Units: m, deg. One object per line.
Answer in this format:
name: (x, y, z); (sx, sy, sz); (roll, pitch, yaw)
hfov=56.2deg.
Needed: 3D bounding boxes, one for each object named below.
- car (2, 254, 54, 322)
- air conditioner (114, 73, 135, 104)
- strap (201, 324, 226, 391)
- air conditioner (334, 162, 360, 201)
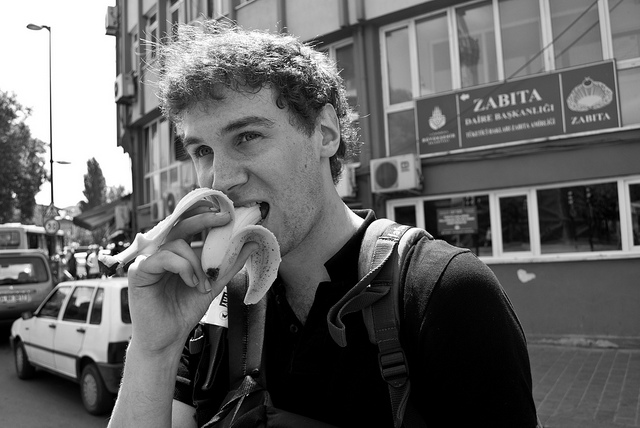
car: (-8.193, 2.083, 16.913); (1.600, 1.765, 2.904); (-2, 0, -20)
air conditioner: (-6.700, -4.175, 20.343); (0.406, 0.786, 0.737); (1, -9, -41)
strap: (-0.970, 1.289, 5.537); (0.202, 0.617, 0.184); (-3, -12, 35)
air conditioner: (0.606, -0.653, 12.818); (0.401, 0.853, 0.815); (-1, 10, 20)
